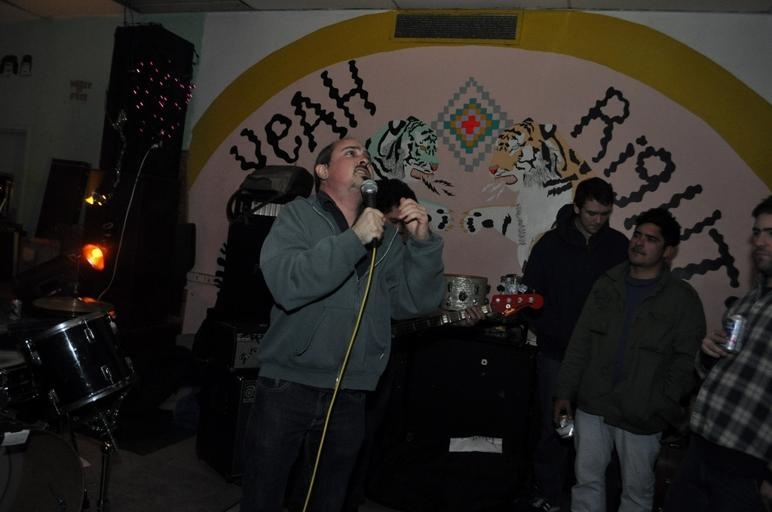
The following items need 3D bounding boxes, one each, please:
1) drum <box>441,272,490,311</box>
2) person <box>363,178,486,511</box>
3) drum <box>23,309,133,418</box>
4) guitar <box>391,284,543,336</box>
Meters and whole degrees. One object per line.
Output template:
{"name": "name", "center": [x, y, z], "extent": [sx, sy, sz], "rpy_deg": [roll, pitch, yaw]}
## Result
{"name": "drum", "center": [0.563, 0.253, 3.958], "extent": [0.255, 0.201, 0.263], "rpy_deg": [3, -3, 0]}
{"name": "person", "center": [0.142, 0.661, 4.101], "extent": [0.302, 2.240, 0.953], "rpy_deg": [9, 3, -43]}
{"name": "drum", "center": [-2.019, 0.679, 3.824], "extent": [0.629, 0.588, 0.620], "rpy_deg": [-37, -5, -11]}
{"name": "guitar", "center": [0.521, 0.376, 3.737], "extent": [0.735, 0.101, 0.303], "rpy_deg": [-3, -28, -3]}
